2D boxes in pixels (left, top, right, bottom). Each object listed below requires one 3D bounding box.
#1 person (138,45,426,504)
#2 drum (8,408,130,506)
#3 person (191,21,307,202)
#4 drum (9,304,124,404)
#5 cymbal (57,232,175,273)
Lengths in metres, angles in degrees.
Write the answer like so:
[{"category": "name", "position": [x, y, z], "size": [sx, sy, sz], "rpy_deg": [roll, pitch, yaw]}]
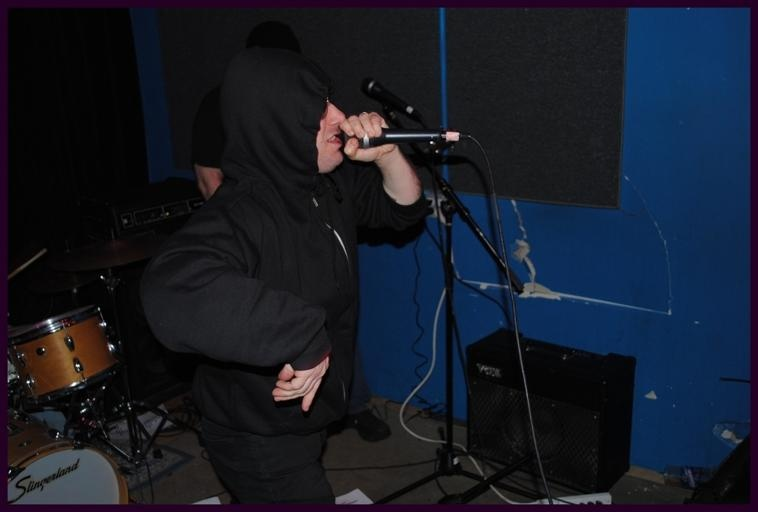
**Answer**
[{"category": "person", "position": [-0.380, 0.110, 2.756], "size": [0.693, 2.016, 1.245], "rpy_deg": [10, 16, 44]}, {"category": "drum", "position": [-1.699, 1.151, 3.426], "size": [0.556, 0.472, 0.424], "rpy_deg": [-6, 12, -25]}, {"category": "person", "position": [-0.893, -0.889, 4.046], "size": [0.358, 1.165, 0.879], "rpy_deg": [3, 11, 20]}, {"category": "drum", "position": [-1.821, 0.572, 3.763], "size": [0.528, 0.390, 0.531], "rpy_deg": [-23, 15, 7]}, {"category": "cymbal", "position": [-1.659, -0.025, 3.893], "size": [0.359, 0.127, 0.359], "rpy_deg": [-14, 19, 12]}]
